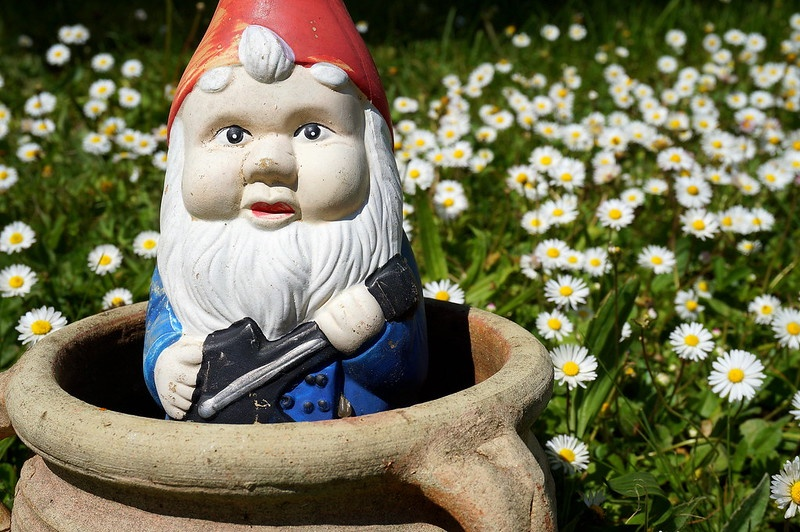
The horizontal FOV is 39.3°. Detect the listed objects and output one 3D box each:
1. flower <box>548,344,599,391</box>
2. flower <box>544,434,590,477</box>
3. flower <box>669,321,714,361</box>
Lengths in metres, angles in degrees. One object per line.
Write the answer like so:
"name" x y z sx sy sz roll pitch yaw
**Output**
"flower" 0.695 0.427 4.626 0.219 0.114 0.259 12 25 17
"flower" 0.681 0.764 4.571 0.124 0.059 0.179 2 63 3
"flower" 1.194 0.303 4.605 0.196 0.103 0.228 -9 11 10
